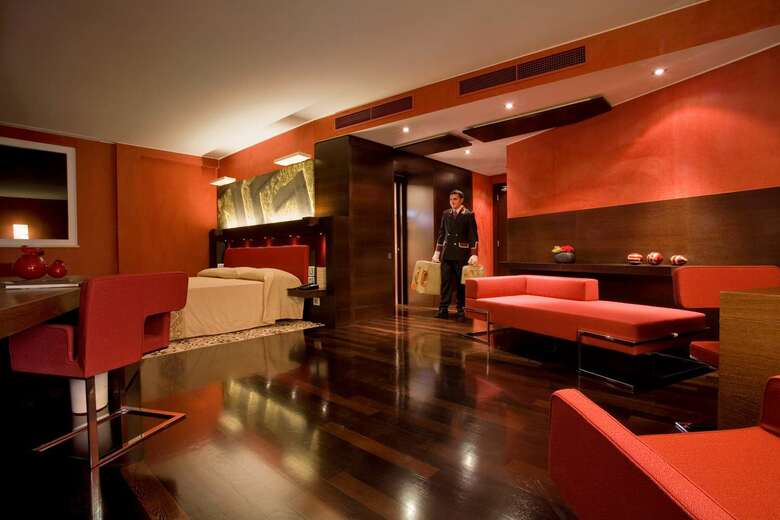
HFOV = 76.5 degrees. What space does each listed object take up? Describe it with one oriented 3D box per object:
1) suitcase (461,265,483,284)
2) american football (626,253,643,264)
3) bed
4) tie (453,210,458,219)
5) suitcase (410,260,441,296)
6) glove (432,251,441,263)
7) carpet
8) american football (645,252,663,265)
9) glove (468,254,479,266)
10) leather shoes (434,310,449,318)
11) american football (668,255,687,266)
[{"bbox_3d":[1.156,0.192,7.003,0.287,0.264,0.142,-2,-1,-32],"label":"suitcase"},{"bbox_3d":[2.830,-0.028,5.747,0.138,0.133,0.165,10,-11,-44],"label":"american football"},{"bbox_3d":[-2.192,0.458,7.114,1.456,0.795,1.524,2,-1,-41],"label":"bed"},{"bbox_3d":[0.996,-0.710,7.519,0.061,0.085,0.023,-4,-14,42],"label":"tie"},{"bbox_3d":[0.643,0.295,8.235,0.405,0.544,0.627,12,2,-11],"label":"suitcase"},{"bbox_3d":[0.714,-0.055,7.765,0.146,0.161,0.151,2,2,44],"label":"glove"},{"bbox_3d":[-2.357,1.029,6.415,1.872,0.031,0.602,-12,7,22],"label":"carpet"},{"bbox_3d":[2.990,-0.016,5.629,0.131,0.134,0.172,-20,-4,2],"label":"american football"},{"bbox_3d":[1.217,0.002,7.291,0.151,0.143,0.117,7,4,16],"label":"glove"},{"bbox_3d":[0.789,0.799,7.470,0.195,0.082,0.283,0,6,6],"label":"leather shoes"},{"bbox_3d":[3.157,-0.003,5.436,0.127,0.121,0.165,-28,19,-27],"label":"american football"}]
